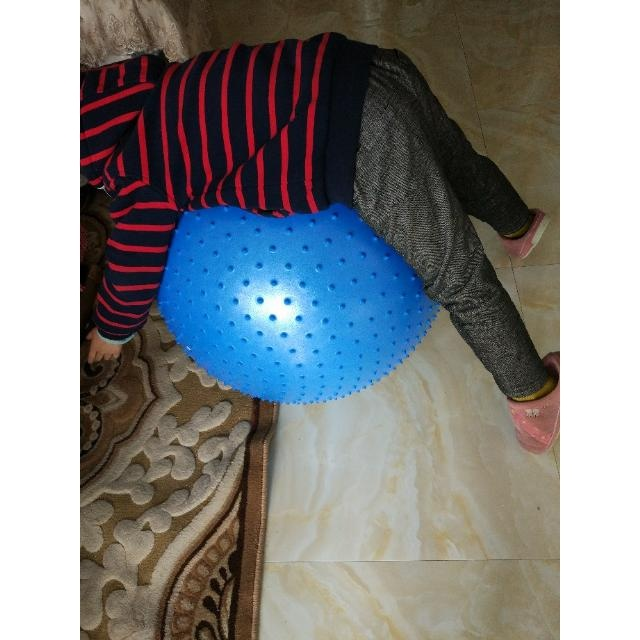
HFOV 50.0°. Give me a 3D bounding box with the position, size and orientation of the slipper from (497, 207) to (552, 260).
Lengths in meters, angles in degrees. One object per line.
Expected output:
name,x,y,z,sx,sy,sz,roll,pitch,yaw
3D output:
slipper,0.371,-0.150,1.219,0.047,0.104,0.054,3,59,10

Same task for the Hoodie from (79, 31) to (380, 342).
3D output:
Hoodie,-0.090,-0.212,0.872,0.325,0.307,0.117,-12,1,36

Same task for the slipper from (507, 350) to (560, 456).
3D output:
slipper,0.340,0.158,1.126,0.093,0.206,0.078,15,38,30

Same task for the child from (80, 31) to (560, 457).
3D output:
child,0.002,-0.065,0.965,0.718,0.403,0.435,9,80,8

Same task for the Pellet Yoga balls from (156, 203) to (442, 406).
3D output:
Pellet Yoga balls,-0.038,-0.027,0.891,0.282,0.170,0.310,-2,-5,0
